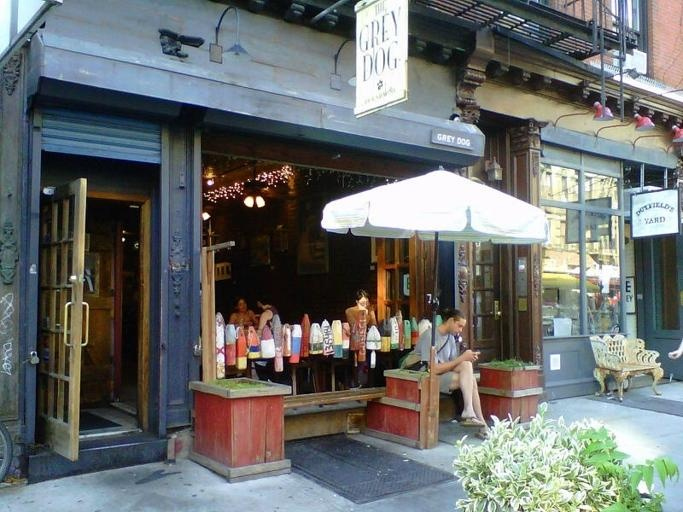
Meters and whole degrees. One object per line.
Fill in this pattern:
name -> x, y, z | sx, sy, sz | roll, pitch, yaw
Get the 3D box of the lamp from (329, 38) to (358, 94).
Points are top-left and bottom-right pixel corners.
lamp -> -0.021, -2.785, 9.975 | 0.179, 0.730, 0.418 | 6, 14, 14

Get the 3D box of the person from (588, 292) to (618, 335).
person -> 5.009, 1.067, 13.382 | 0.827, 0.891, 0.464 | -1, 3, -17

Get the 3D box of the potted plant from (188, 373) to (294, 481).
potted plant -> -1.236, 2.032, 8.183 | 1.277, 1.117, 0.846 | 12, 17, 33

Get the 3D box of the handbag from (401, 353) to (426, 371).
handbag -> 1.002, 1.506, 9.640 | 0.210, 0.119, 0.260 | 2, -1, 42

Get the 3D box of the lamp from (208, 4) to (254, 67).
lamp -> -1.465, -2.879, 8.901 | 0.480, 0.745, 0.664 | -3, 15, -21

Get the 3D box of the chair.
chair -> 5.214, 1.994, 12.528 | 0.929, 1.230, 0.847 | -1, -5, -11
